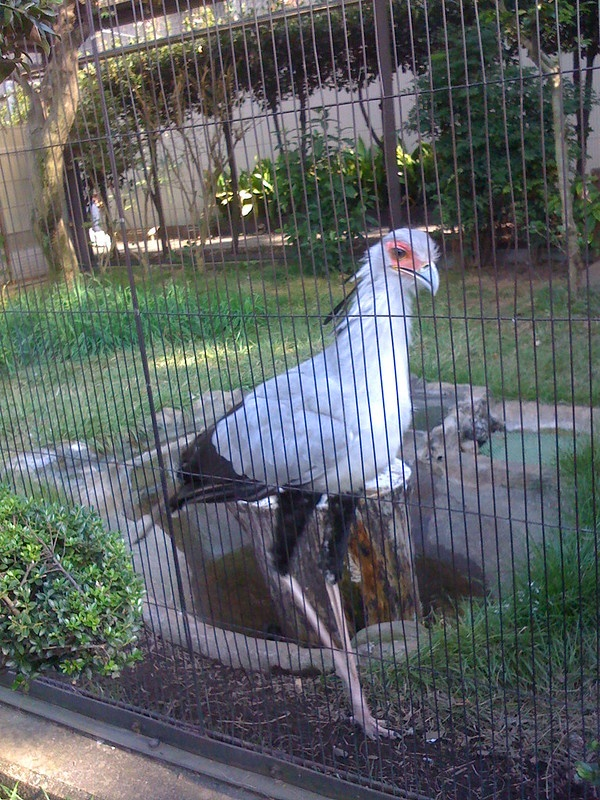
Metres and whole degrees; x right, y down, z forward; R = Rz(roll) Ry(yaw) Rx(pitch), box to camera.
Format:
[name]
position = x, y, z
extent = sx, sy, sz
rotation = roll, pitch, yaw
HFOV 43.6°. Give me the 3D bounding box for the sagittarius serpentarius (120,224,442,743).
[sagittarius serpentarius]
position = 0.030, 0.303, 3.366
extent = 1.241, 1.975, 0.999
rotation = -2, 15, 20
